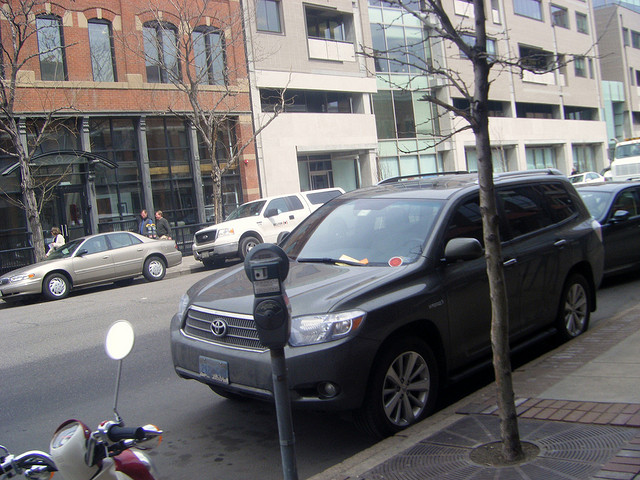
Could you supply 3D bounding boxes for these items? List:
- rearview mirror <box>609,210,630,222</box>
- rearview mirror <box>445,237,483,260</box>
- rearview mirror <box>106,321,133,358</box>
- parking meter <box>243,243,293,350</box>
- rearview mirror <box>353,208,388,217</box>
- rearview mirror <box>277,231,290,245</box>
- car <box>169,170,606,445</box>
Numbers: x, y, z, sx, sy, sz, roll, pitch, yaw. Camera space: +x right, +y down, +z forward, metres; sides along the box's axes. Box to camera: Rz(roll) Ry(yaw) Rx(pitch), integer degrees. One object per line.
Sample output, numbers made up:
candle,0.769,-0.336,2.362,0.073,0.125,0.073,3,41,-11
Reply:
rearview mirror,5.298,-0.418,9.444,0.231,0.098,0.238,-2,-6,-8
rearview mirror,1.292,0.088,4.828,0.237,0.159,0.224,0,22,12
rearview mirror,-1.016,0.508,2.736,0.154,0.131,0.090,-4,4,16
parking meter,-0.274,0.344,3.013,0.260,0.636,0.234,-10,11,-20
rearview mirror,0.520,-0.281,5.667,0.422,0.086,0.090,-2,5,36
rearview mirror,-0.460,-0.069,6.530,0.132,0.169,0.250,3,2,9
car,1.107,0.441,6.350,5.324,2.104,2.666,-11,8,-41
